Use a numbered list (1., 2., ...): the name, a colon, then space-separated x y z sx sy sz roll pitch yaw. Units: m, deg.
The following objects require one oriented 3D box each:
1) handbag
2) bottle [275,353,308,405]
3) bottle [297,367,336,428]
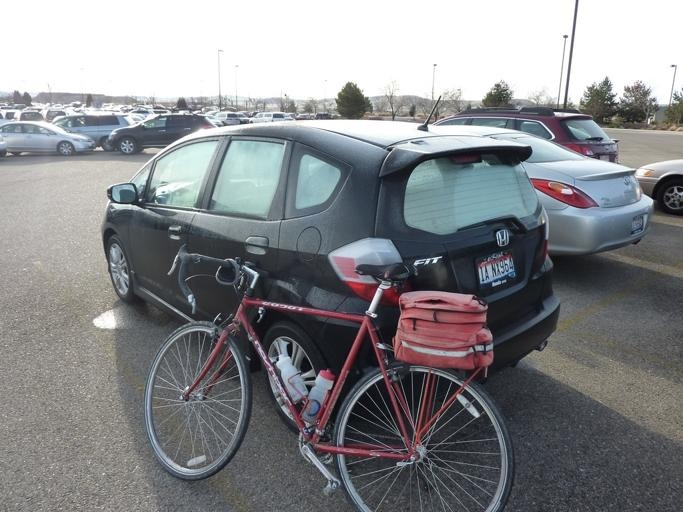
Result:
1. handbag: 0.501 0.349 2.397 0.714 0.427 0.361 2 1 11
2. bottle: -0.311 0.726 2.901 0.114 0.093 0.304 -41 36 -1
3. bottle: -0.125 0.839 2.719 0.109 0.319 0.171 37 -13 -38
